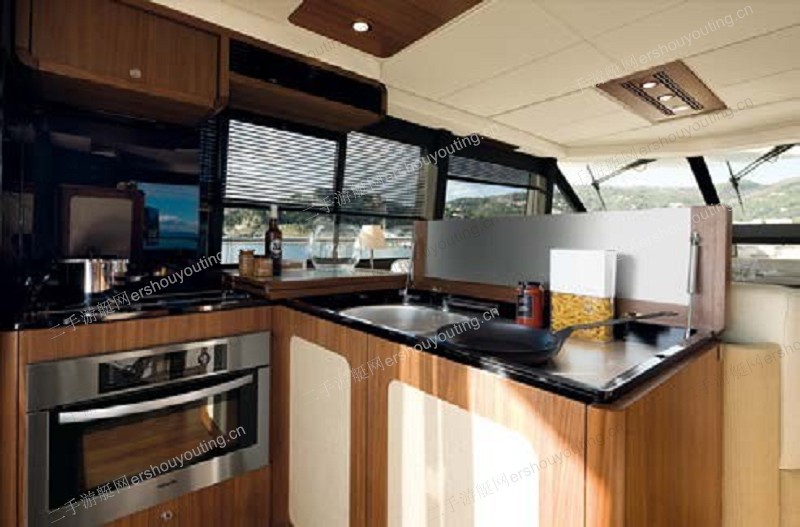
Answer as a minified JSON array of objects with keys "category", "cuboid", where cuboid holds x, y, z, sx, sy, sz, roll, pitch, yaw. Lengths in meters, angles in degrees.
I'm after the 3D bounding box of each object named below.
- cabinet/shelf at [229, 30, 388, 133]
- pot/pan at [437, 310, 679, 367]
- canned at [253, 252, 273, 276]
[{"category":"cabinet/shelf","cuboid":[-0.635,-1.089,3.215,1.044,0.284,0.423,-1,1,-38]},{"category":"pot/pan","cuboid":[0.574,0.296,2.130,0.705,0.089,0.349,-1,-1,-6]},{"category":"canned","cuboid":[-0.776,0.012,2.904,0.093,0.121,0.119,0,1,-20]}]
